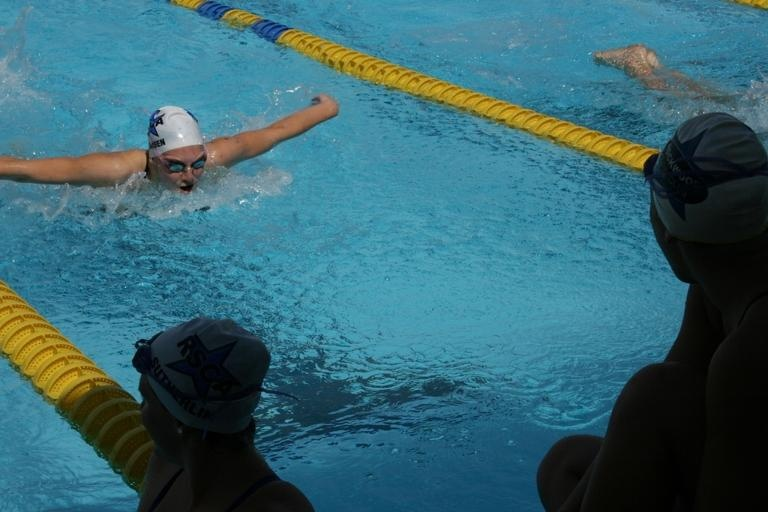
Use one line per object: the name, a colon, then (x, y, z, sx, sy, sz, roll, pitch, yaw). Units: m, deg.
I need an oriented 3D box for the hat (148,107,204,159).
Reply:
hat: (-1.365, -0.774, 4.439, 0.307, 0.255, 0.370, -14, 8, -21)

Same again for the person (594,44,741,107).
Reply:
person: (2.313, -1.554, 6.064, 0.484, 0.211, 1.182, -33, 46, -30)
